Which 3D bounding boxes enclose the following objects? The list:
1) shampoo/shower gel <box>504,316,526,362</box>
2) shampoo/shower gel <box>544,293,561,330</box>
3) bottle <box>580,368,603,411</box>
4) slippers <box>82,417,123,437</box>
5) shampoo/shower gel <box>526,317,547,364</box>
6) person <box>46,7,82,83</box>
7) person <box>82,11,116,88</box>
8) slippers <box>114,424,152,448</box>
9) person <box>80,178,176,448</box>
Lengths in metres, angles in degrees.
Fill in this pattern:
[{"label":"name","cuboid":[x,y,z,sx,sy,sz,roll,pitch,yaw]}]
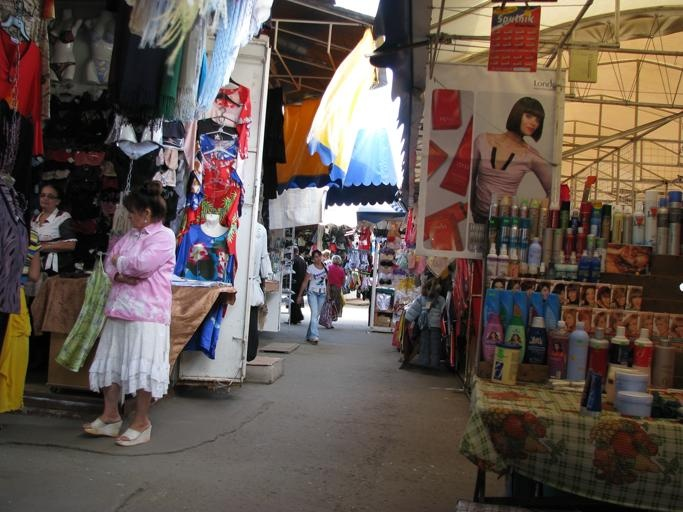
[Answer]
[{"label":"shampoo/shower gel","cuboid":[1.076,0.513,3.434,0.130,0.259,0.236,3,-1,20]},{"label":"shampoo/shower gel","cuboid":[1.334,0.353,3.511,0.073,0.267,0.098,0,2,24]},{"label":"bottle","cuboid":[1.263,0.683,2.798,0.087,0.254,0.194,0,-1,5]},{"label":"slippers","cuboid":[-1.959,1.412,4.530,0.244,0.110,0.156,8,-5,-10]},{"label":"shampoo/shower gel","cuboid":[1.196,0.516,3.363,0.116,0.259,0.082,3,-1,9]},{"label":"person","cuboid":[-3.622,-2.755,7.232,0.371,1.063,0.559,4,-1,-19]},{"label":"person","cuboid":[-3.166,-2.720,7.246,0.305,1.070,0.576,4,-1,-27]},{"label":"slippers","cuboid":[-1.686,1.468,4.442,0.112,0.099,0.236,-10,-18,34]},{"label":"person","cuboid":[-1.707,0.446,4.537,0.615,2.241,0.401,3,-1,-12]}]
